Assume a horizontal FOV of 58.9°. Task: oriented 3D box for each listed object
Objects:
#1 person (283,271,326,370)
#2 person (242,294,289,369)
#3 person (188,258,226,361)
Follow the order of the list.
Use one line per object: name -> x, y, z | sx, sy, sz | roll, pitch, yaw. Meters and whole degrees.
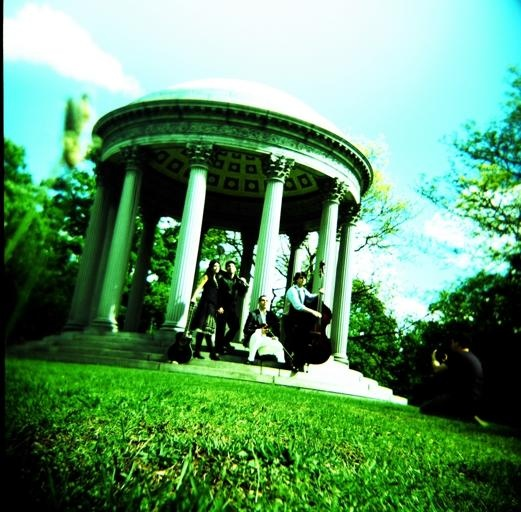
person -> 0.999, 1.533, 10.730 | 0.717, 2.722, 0.706 | 1, -5, -11
person -> 0.078, 1.907, 11.508 | 0.808, 2.131, 0.799 | 3, -4, -25
person -> -1.261, 1.192, 10.664 | 0.646, 2.882, 0.640 | 0, -3, 4
